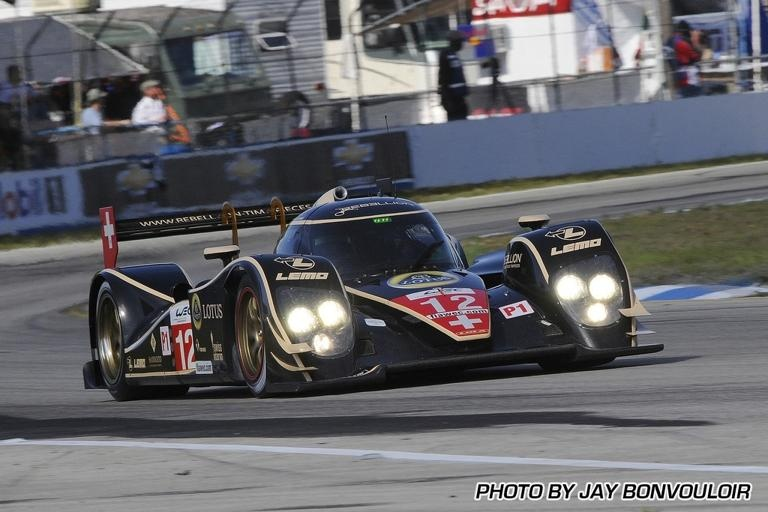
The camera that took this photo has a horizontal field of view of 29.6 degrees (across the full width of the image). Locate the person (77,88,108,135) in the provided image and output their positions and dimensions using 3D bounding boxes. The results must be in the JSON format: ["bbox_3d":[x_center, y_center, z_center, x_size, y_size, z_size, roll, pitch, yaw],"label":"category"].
[{"bbox_3d":[-5.542,-2.626,27.275,0.565,0.924,0.450,0,15,-10],"label":"person"}]

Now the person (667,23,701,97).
[{"bbox_3d":[5.999,-3.927,29.160,0.623,1.476,0.821,-6,8,16],"label":"person"}]

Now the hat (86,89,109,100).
[{"bbox_3d":[-5.407,-2.996,27.173,0.319,0.072,0.256,-13,11,23],"label":"hat"}]

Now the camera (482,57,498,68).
[{"bbox_3d":[2.040,-3.794,28.634,0.350,0.208,0.139,-10,8,-34],"label":"camera"}]

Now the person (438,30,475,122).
[{"bbox_3d":[1.303,-3.536,28.584,0.564,1.727,0.722,-7,8,13],"label":"person"}]

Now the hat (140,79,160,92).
[{"bbox_3d":[-4.458,-3.179,27.445,0.290,0.073,0.264,5,31,42],"label":"hat"}]
